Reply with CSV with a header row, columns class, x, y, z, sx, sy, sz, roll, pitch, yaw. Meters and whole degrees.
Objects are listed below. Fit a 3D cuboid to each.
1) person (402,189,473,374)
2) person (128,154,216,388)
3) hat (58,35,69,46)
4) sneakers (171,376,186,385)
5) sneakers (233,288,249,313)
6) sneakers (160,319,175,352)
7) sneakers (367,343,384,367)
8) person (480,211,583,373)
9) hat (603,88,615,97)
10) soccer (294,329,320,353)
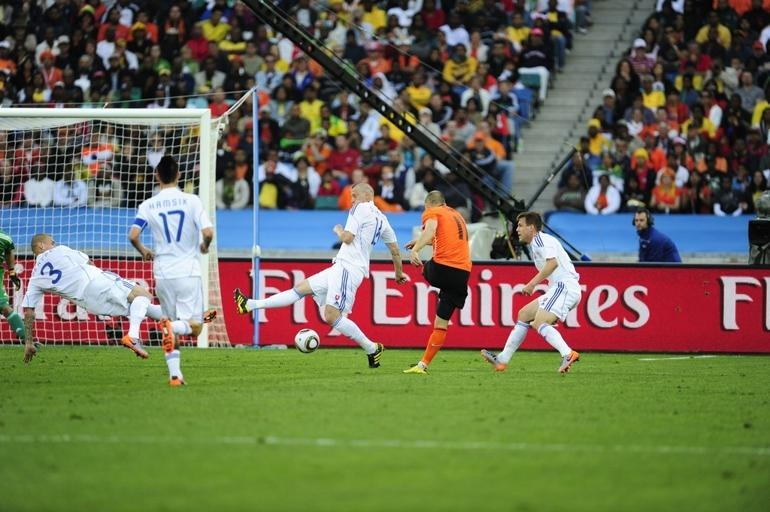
class,x,y,z,sx,sy,sz,roll,pitch,yaw
person,0.682,0.355,18.092,0.961,2.510,0.637,-5,13,-37
person,-2.774,-0.142,16.867,1.051,2.323,0.624,8,12,28
hat,-6.984,-4.707,27.628,0.208,0.159,0.213,-1,2,-5
sneakers,-2.748,1.638,16.732,0.104,0.143,0.120,3,4,0
sneakers,-2.086,0.639,18.232,0.149,0.428,0.209,-8,17,13
sneakers,-2.837,1.035,16.630,0.166,0.399,0.177,-10,2,-8
sneakers,-0.171,1.422,18.254,0.143,0.435,0.191,15,14,34
person,2.176,0.562,18.029,1.146,2.308,0.822,3,10,5
hat,4.494,-3.333,25.714,0.207,0.151,0.328,4,11,7
soccer,-1.123,1.196,18.014,0.295,0.380,0.449,2,10,-5
